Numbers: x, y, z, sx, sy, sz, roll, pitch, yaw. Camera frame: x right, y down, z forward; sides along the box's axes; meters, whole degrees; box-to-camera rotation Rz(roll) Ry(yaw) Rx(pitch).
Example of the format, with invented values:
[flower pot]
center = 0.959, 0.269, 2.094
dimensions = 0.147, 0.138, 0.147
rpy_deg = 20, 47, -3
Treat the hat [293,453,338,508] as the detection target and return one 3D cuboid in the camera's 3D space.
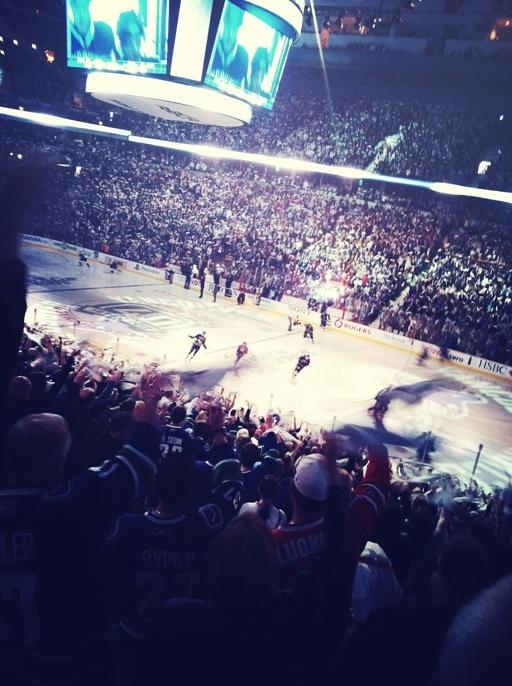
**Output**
[hat]
center = 0.467, 1.149, 4.069
dimensions = 0.279, 0.313, 0.245
rpy_deg = 4, 16, -23
